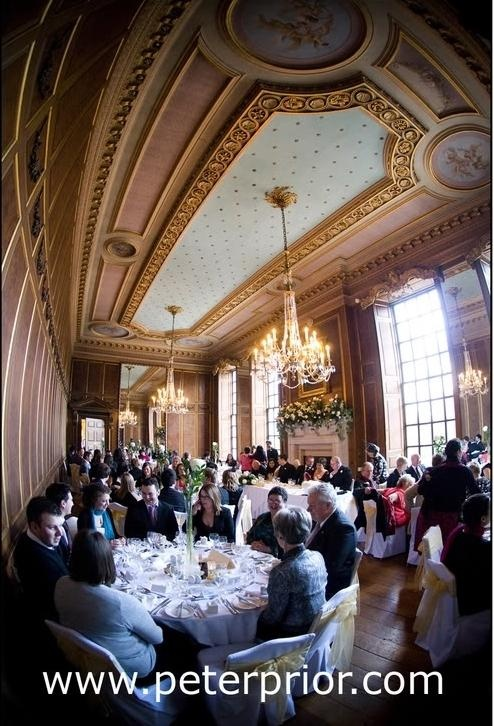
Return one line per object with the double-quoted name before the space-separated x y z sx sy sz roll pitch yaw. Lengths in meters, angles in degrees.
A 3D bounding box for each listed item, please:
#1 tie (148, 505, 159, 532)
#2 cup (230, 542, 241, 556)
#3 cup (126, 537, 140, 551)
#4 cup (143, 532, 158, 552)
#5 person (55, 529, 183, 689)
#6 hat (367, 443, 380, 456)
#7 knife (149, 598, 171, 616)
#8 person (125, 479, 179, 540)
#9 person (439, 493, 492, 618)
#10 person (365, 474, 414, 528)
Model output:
"tie" -0.965 1.585 4.467 0.115 0.234 0.054 -2 -5 -8
"cup" -0.095 1.413 3.333 0.057 0.051 0.066 4 -19 -17
"cup" -0.860 1.347 3.266 0.069 0.077 0.073 0 0 0
"cup" -0.760 1.411 3.466 0.092 0.134 0.049 -7 -14 40
"person" -0.623 1.058 2.032 0.433 0.780 0.389 5 22 17
"hat" 2.113 1.464 7.394 0.206 0.135 0.309 3 -16 10
"knife" -0.461 1.283 2.304 0.055 0.056 0.233 11 -30 -38
"person" -0.969 1.623 4.433 0.535 0.855 0.458 -3 -10 -6
"person" 1.455 1.261 2.871 0.304 0.809 0.322 8 -7 27
"person" 1.922 1.881 5.905 0.468 0.772 0.356 26 -20 -12
